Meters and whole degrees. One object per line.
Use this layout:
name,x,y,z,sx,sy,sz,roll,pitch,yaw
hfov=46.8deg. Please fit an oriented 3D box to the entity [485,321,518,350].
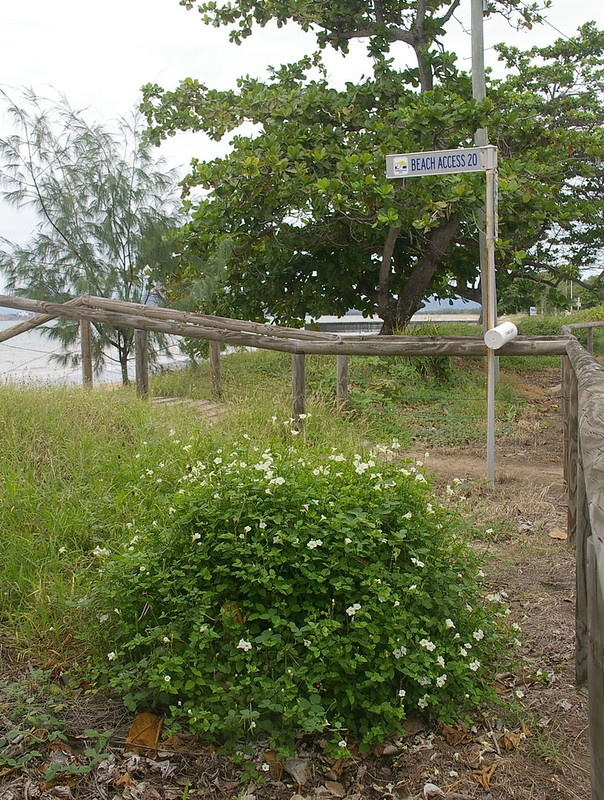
entity,1.634,-0.524,5.750,0.148,0.138,0.341,1,17,34
